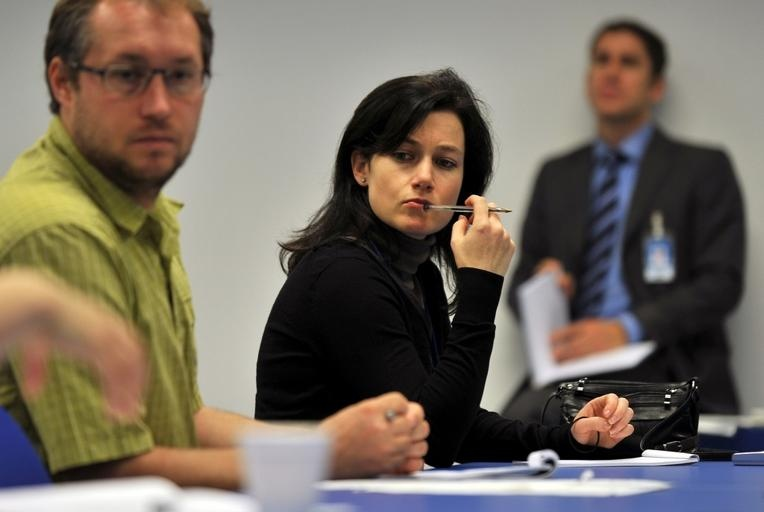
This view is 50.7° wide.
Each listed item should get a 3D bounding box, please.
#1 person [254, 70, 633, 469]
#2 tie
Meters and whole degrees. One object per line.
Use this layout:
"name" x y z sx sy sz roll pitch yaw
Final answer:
"person" 0.134 0.073 2.096 0.931 0.975 0.742 1 -2 -29
"tie" 0.744 -0.050 2.820 0.167 0.803 0.092 5 38 22
